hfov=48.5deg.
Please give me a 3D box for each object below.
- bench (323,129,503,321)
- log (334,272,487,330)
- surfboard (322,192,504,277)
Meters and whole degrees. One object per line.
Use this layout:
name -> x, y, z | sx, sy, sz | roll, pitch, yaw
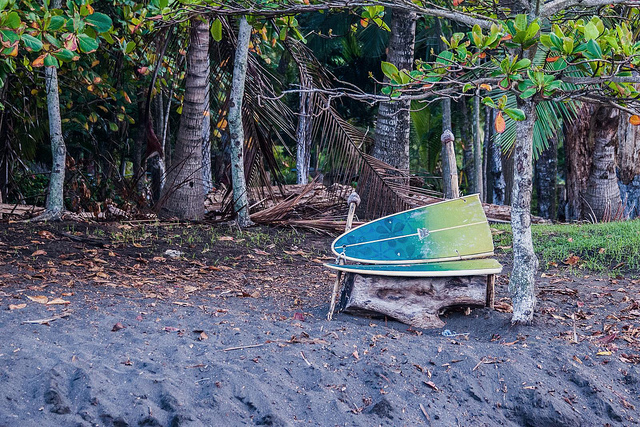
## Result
bench -> 1.179, 0.353, 8.622 | 1.620, 1.675, 0.551 | -2, -34, 0
log -> 1.093, 1.066, 8.431 | 1.346, 0.759, 0.469 | -1, -49, 6
surfboard -> 1.104, 0.255, 8.542 | 1.752, 1.094, 0.405 | 0, -33, -7
